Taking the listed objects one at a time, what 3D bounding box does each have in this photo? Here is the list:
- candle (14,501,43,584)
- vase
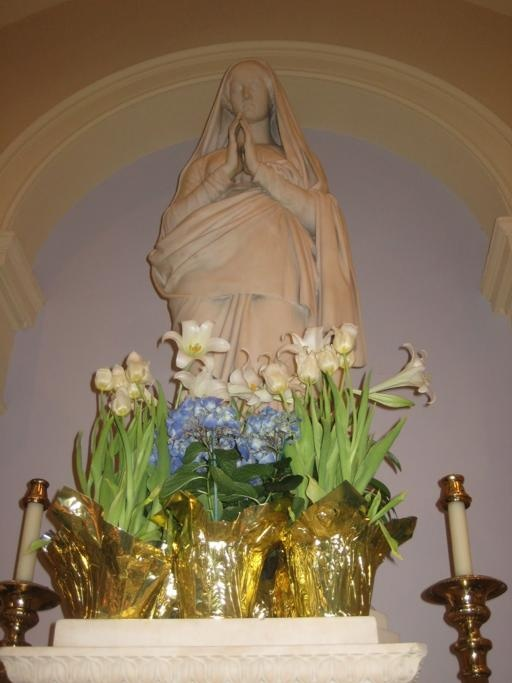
[{"bbox_3d":[-0.517,0.456,2.029,0.043,0.190,0.041,9,-9,-24],"label":"candle"},{"bbox_3d":[-0.072,0.386,1.634,0.489,0.164,0.206,1,-50,1],"label":"vase"}]
